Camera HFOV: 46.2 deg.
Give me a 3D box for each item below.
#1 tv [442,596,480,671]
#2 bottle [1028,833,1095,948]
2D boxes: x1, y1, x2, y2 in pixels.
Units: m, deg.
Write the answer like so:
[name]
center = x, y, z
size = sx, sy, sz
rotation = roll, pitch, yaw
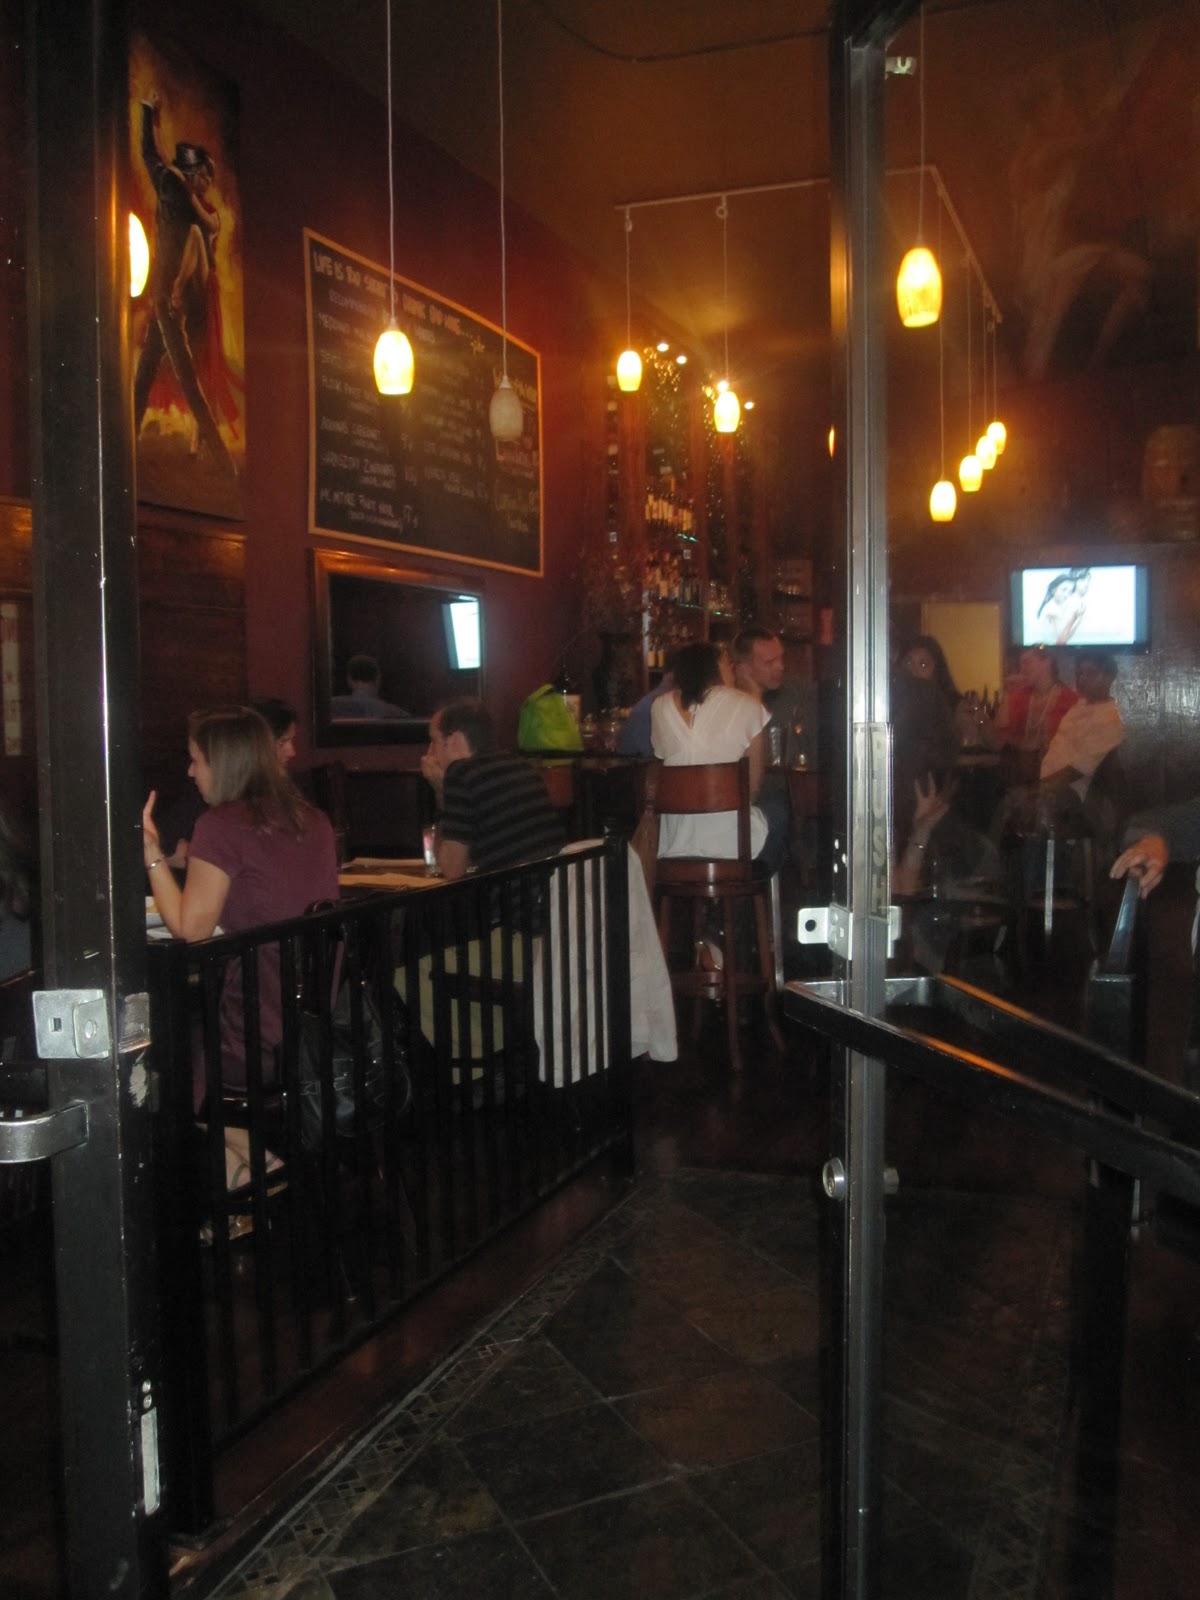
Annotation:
[tv]
center = -0.548, -0.670, 5.651
size = 0.045, 0.257, 0.230
rotation = -2, 10, 11
[bottle]
center = 1.715, 0.325, 5.255
size = 0.128, 0.046, 0.509
rotation = 0, -46, 8
